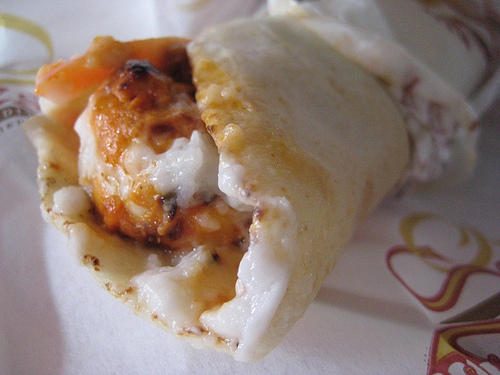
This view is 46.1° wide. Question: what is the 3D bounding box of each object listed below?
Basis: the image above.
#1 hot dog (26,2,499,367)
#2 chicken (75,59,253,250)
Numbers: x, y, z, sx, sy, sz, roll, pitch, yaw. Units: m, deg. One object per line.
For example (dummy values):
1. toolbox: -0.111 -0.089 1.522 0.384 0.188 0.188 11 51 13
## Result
1. hot dog: 0.029 -0.017 0.996 0.668 0.508 0.258 -30 -23 -26
2. chicken: -0.139 -0.061 0.975 0.272 0.273 0.252 -8 20 -12
